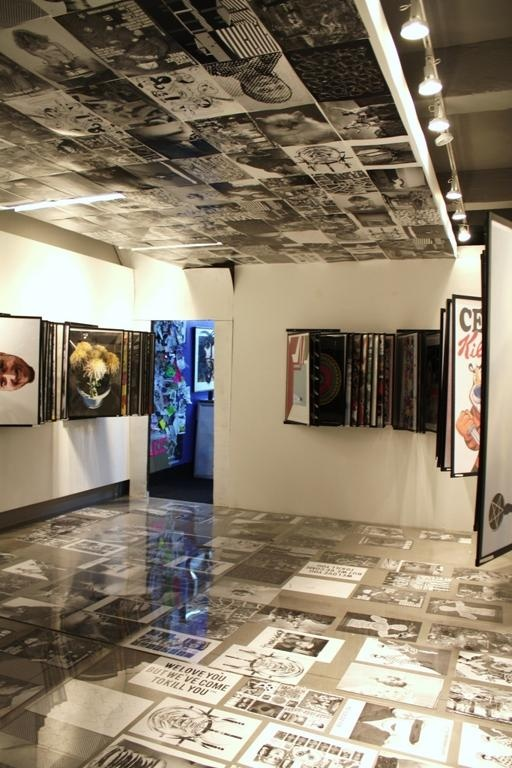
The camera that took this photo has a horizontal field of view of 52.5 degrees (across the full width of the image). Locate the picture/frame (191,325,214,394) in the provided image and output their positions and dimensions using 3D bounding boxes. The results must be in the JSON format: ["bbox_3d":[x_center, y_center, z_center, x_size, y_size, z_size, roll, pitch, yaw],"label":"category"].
[{"bbox_3d":[-0.825,-0.391,8.241,0.145,1.044,0.662,1,-3,12],"label":"picture/frame"}]
